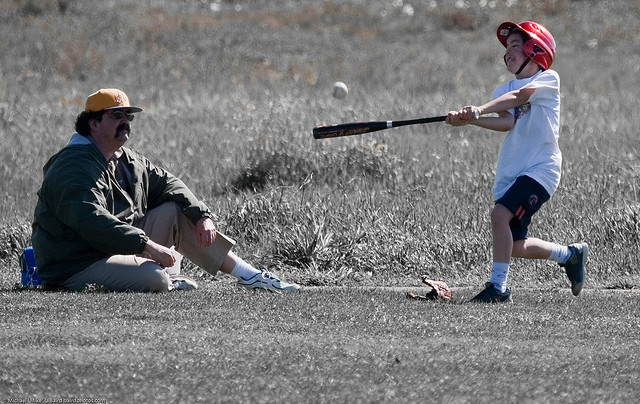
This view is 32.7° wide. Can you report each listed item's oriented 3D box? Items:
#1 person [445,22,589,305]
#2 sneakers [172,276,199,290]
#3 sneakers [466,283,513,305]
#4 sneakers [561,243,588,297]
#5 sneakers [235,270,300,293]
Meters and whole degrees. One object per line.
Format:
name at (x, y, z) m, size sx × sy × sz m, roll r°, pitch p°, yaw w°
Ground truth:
person at (2.060, -0.440, 11.148) m, size 1.299 × 2.788 × 0.647 m, roll -2°, pitch 9°, yaw -23°
sneakers at (-1.412, 0.829, 11.287) m, size 0.303 × 0.099 × 0.130 m, roll 2°, pitch 10°, yaw -18°
sneakers at (1.725, 0.908, 10.963) m, size 0.494 × 0.221 × 0.172 m, roll -3°, pitch 6°, yaw -17°
sneakers at (2.664, 0.655, 11.341) m, size 0.277 × 0.574 × 0.206 m, roll -7°, pitch 13°, yaw -4°
sneakers at (-0.555, 0.816, 11.246) m, size 0.620 × 0.212 × 0.214 m, roll 1°, pitch -1°, yaw 0°
